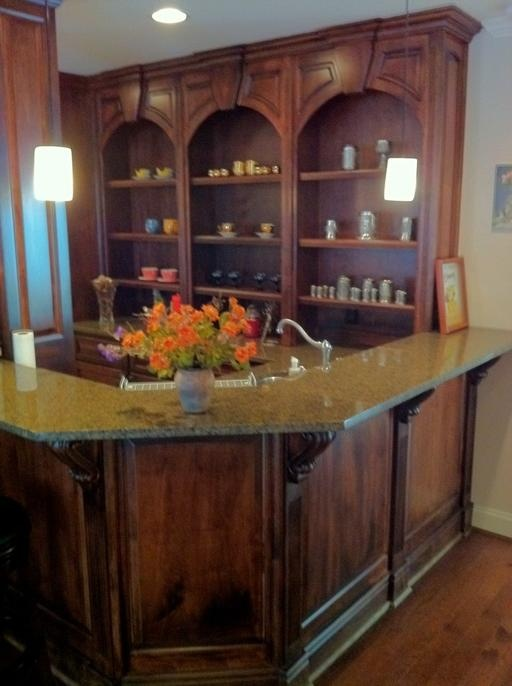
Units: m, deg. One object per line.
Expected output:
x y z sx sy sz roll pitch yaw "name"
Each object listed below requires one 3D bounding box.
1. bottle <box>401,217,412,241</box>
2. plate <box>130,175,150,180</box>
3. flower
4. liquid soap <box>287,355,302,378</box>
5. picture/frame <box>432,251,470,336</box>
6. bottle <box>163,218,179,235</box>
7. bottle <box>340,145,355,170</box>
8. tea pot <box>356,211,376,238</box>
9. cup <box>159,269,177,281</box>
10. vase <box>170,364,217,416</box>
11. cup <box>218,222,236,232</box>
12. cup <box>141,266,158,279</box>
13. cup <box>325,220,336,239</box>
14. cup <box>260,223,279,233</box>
0.819 -0.617 3.181 0.062 0.129 0.101 2 7 15 "bottle"
-0.873 -1.243 4.433 0.097 0.022 0.096 5 15 20 "plate"
-0.168 0.015 1.759 0.536 0.266 0.329 -5 6 -3 "flower"
0.182 0.119 2.794 0.064 0.069 0.066 20 34 40 "liquid soap"
1.017 -0.259 3.064 0.057 0.528 0.396 1 9 38 "picture/frame"
-0.650 -0.853 4.328 0.144 0.109 0.066 5 9 39 "bottle"
0.531 -1.044 3.336 0.078 0.159 0.198 1 7 8 "bottle"
0.639 -0.667 3.362 0.100 0.163 0.197 1 7 9 "tea pot"
-0.651 -0.493 4.318 0.115 0.076 0.116 1 4 0 "cup"
-0.183 0.141 1.751 0.132 0.137 0.129 0 7 0 "vase"
-0.205 -0.788 4.019 0.101 0.070 0.077 5 16 24 "cup"
-0.837 -0.532 4.519 0.120 0.078 0.118 2 7 0 "cup"
0.450 -0.682 3.518 0.060 0.117 0.077 0 7 1 "cup"
0.065 -0.744 3.831 0.090 0.065 0.091 0 12 0 "cup"
